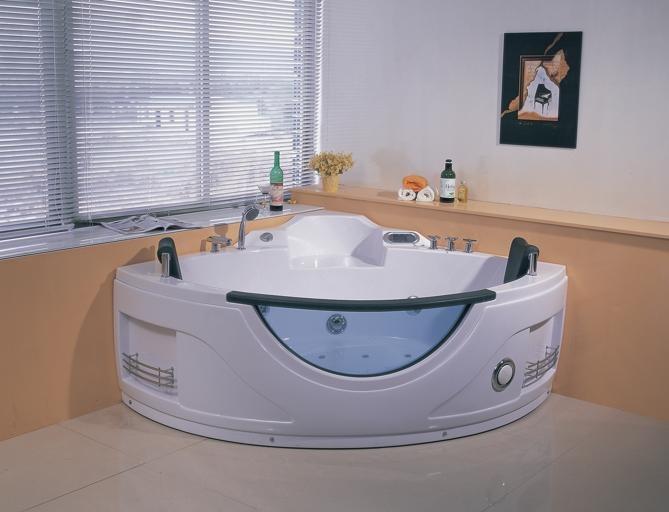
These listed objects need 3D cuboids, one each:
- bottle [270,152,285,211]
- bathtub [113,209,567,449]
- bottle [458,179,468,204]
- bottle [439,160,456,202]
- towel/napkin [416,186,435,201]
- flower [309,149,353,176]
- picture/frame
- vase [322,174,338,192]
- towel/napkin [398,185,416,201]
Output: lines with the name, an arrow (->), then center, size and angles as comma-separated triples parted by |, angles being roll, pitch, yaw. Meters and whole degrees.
bottle -> -0.420, -0.556, 3.663 | 0.082, 0.411, 0.234 | 0, 13, -3
bathtub -> 0.025, 0.333, 2.825 | 2.370, 0.914, 1.168 | 2, 14, 3
bottle -> 0.889, -0.442, 3.436 | 0.074, 0.132, 0.153 | 4, 14, 14
bottle -> 0.774, -0.505, 3.376 | 0.094, 0.280, 0.125 | 7, 14, 25
towel/napkin -> 0.629, -0.423, 3.438 | 0.117, 0.099, 0.102 | 2, 13, 2
flower -> -0.031, -0.719, 3.810 | 0.243, 0.164, 0.220 | 11, 18, 38
picture/frame -> 1.315, -1.054, 3.113 | 0.588, 0.913, 0.080 | 10, 16, 35
vase -> -0.029, -0.565, 3.857 | 0.114, 0.126, 0.118 | 9, 12, 40
towel/napkin -> 0.514, -0.435, 3.493 | 0.073, 0.041, 0.108 | 2, 31, 1
